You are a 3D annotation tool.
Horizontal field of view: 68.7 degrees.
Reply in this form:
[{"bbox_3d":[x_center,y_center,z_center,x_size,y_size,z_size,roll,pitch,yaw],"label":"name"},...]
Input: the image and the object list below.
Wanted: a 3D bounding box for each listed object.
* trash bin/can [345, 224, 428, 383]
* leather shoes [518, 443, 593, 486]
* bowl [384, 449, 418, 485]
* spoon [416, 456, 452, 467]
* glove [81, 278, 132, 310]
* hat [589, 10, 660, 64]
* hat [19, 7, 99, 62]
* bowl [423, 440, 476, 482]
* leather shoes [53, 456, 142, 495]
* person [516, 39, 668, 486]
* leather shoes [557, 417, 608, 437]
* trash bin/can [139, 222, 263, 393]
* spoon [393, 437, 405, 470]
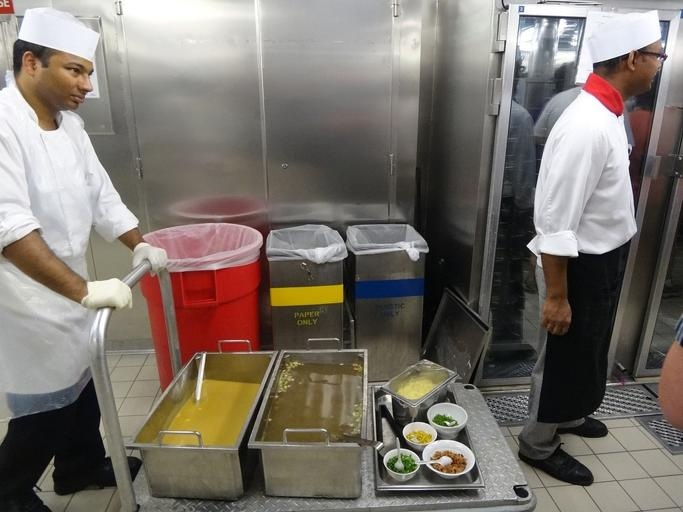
[{"bbox_3d":[0.291,0.303,3.434,0.546,0.932,0.580,-6,17,-14],"label":"trash bin/can"},{"bbox_3d":[1.151,1.121,2.719,0.363,0.135,0.135,11,30,27],"label":"leather shoes"},{"bbox_3d":[0.258,0.926,2.196,0.147,0.070,0.149,0,22,0],"label":"bowl"},{"bbox_3d":[0.411,0.896,2.198,0.179,0.056,0.055,-6,10,10],"label":"spoon"},{"bbox_3d":[-0.881,0.138,1.874,0.165,0.065,0.121,6,46,-26],"label":"glove"},{"bbox_3d":[1.301,-1.004,2.333,0.279,0.149,0.268,-9,27,27],"label":"hat"},{"bbox_3d":[-1.193,-0.956,2.128,0.271,0.170,0.266,17,10,-12],"label":"hat"},{"bbox_3d":[0.463,0.919,2.214,0.222,0.075,0.229,-2,13,0],"label":"bowl"},{"bbox_3d":[-1.285,1.130,2.646,0.414,0.149,0.135,-4,12,-22],"label":"leather shoes"},{"bbox_3d":[1.185,0.069,2.492,0.526,2.125,0.784,10,30,19],"label":"person"},{"bbox_3d":[1.435,1.019,2.982,0.291,0.131,0.117,-6,33,3],"label":"leather shoes"},{"bbox_3d":[-0.902,0.407,3.260,0.768,1.111,0.774,5,20,13],"label":"trash bin/can"},{"bbox_3d":[0.250,0.870,2.177,0.036,0.020,0.117,12,32,-10],"label":"spoon"}]
